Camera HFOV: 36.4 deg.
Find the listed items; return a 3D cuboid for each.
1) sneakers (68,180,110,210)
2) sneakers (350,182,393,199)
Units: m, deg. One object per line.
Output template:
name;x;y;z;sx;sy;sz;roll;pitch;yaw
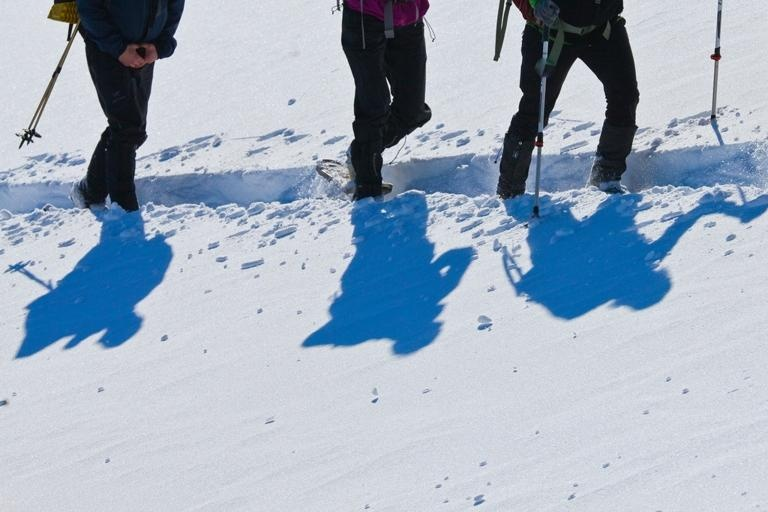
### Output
sneakers;-2.815;-0.602;11.547;0.123;0.237;0.464;-37;38;-27
sneakers;-0.117;-0.619;11.153;0.444;0.162;0.138;-7;2;-2
